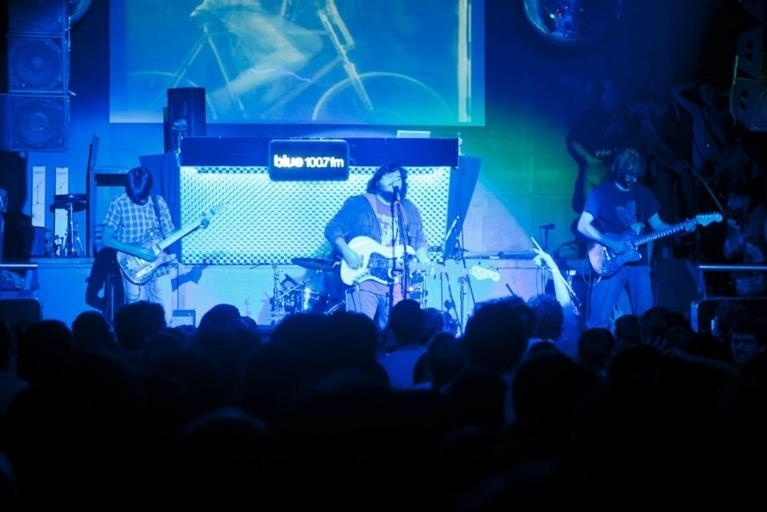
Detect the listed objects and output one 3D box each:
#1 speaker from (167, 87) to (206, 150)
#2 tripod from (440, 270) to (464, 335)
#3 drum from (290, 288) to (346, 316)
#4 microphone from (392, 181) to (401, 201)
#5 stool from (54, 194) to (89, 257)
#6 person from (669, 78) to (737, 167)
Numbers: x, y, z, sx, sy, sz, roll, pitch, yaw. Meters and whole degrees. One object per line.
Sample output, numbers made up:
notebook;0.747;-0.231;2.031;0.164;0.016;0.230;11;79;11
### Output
speaker;-2.184;-1.509;8.987;0.422;0.756;0.409;2;8;10
tripod;0.766;0.494;8.377;0.217;0.684;0.129;-2;-7;-45
drum;-0.704;0.460;8.043;0.414;0.160;0.421;6;-5;1
microphone;0.136;-0.605;7.423;0.089;0.154;0.152;-1;6;-1
stool;-3.637;-0.393;9.252;0.400;0.677;0.723;-2;11;-22
person;3.771;-1.559;9.429;0.420;0.990;0.868;1;11;-5
